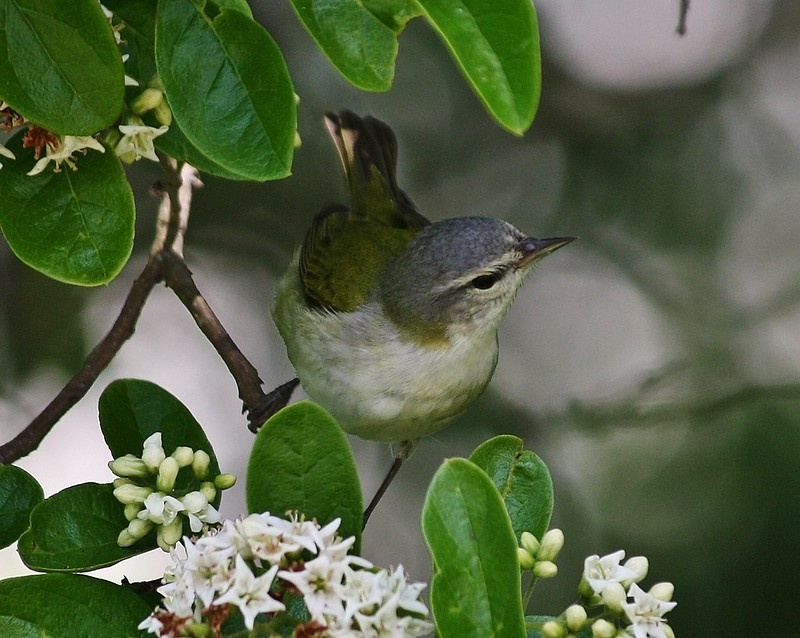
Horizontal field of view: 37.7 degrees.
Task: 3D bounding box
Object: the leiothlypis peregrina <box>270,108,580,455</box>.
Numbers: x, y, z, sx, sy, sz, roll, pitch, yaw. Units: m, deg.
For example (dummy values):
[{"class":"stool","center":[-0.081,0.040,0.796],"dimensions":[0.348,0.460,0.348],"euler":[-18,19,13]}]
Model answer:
[{"class":"leiothlypis peregrina","center":[-0.072,-0.128,4.887],"dimensions":[0.913,1.472,1.611],"euler":[-2,-66,-6]}]
